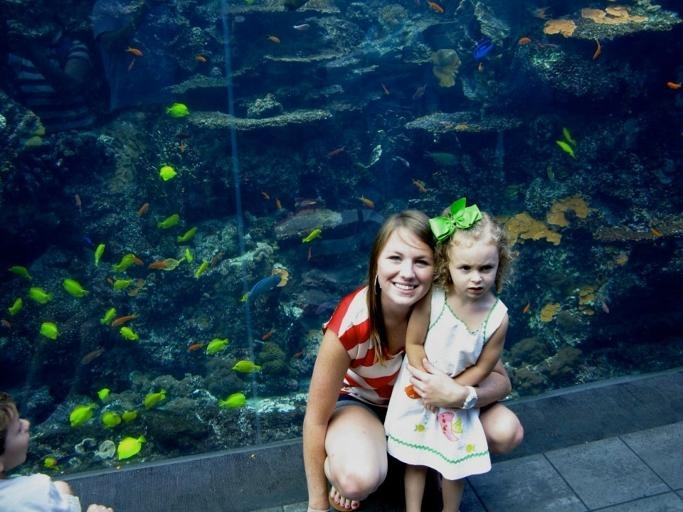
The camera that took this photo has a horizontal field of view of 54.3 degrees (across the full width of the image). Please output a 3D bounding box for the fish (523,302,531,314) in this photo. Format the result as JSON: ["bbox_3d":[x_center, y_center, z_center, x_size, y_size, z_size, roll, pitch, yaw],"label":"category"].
[{"bbox_3d":[4.649,1.315,16.682,0.118,0.070,0.292,30,71,7],"label":"fish"}]

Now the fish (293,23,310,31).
[{"bbox_3d":[-1.092,-6.229,18.018,0.101,0.191,0.466,49,33,20],"label":"fish"}]

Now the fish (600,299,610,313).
[{"bbox_3d":[6.129,1.193,15.472,0.206,0.077,0.278,14,54,-60],"label":"fish"}]

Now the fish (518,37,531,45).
[{"bbox_3d":[4.498,-5.291,16.344,0.302,0.179,0.365,-1,20,14],"label":"fish"}]

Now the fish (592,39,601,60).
[{"bbox_3d":[6.030,-4.911,15.718,0.230,0.080,0.555,15,66,14],"label":"fish"}]
